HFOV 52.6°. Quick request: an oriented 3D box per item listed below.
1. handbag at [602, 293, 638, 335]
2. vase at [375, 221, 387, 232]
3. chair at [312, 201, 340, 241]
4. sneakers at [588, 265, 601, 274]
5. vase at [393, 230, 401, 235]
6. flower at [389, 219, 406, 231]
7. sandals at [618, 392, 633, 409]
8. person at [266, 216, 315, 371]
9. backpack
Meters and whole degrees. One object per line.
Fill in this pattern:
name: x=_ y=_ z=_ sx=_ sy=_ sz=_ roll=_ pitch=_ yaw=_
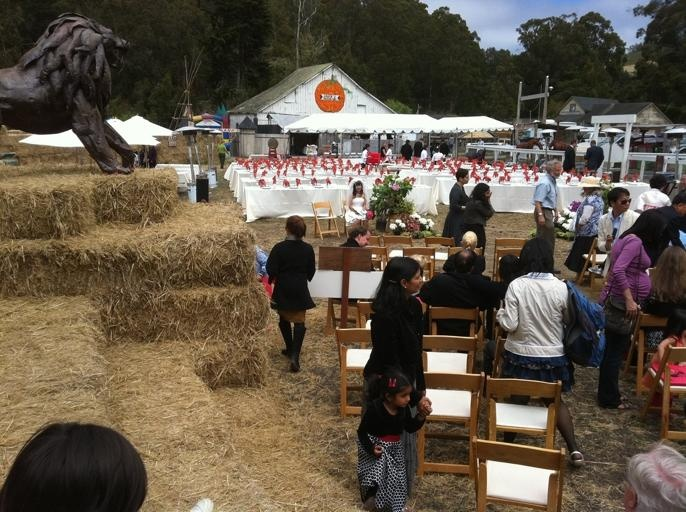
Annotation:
handbag: x=3.050 y=0.647 z=7.678 sx=0.301 sy=0.462 sz=0.240 roll=4 pitch=5 yaw=26
vase: x=0.853 y=-0.667 z=15.257 sx=0.197 sy=0.193 sz=0.228 roll=-1 pitch=5 yaw=-12
chair: x=-0.362 y=-0.796 z=14.925 sx=0.539 sy=0.781 sz=0.607 roll=-2 pitch=7 yaw=-7
sneakers: x=3.862 y=0.209 z=10.606 sx=0.097 sy=0.116 sz=0.165 roll=-3 pitch=20 yaw=-11
vase: x=1.141 y=-0.508 z=14.375 sx=0.126 sy=0.117 sz=0.155 roll=2 pitch=13 yaw=5
flower: x=1.149 y=-0.641 z=14.263 sx=0.241 sy=0.204 sz=0.265 roll=0 pitch=8 yaw=1
sandals: x=3.154 y=1.626 z=7.765 sx=0.105 sy=0.056 sz=0.200 roll=5 pitch=35 yaw=18
person: x=-0.617 y=0.413 z=8.463 sx=0.577 sy=1.861 sz=0.582 roll=0 pitch=11 yaw=-3
backpack: x=2.428 y=0.662 z=6.947 sx=0.380 sy=0.832 sz=0.598 roll=0 pitch=5 yaw=24
